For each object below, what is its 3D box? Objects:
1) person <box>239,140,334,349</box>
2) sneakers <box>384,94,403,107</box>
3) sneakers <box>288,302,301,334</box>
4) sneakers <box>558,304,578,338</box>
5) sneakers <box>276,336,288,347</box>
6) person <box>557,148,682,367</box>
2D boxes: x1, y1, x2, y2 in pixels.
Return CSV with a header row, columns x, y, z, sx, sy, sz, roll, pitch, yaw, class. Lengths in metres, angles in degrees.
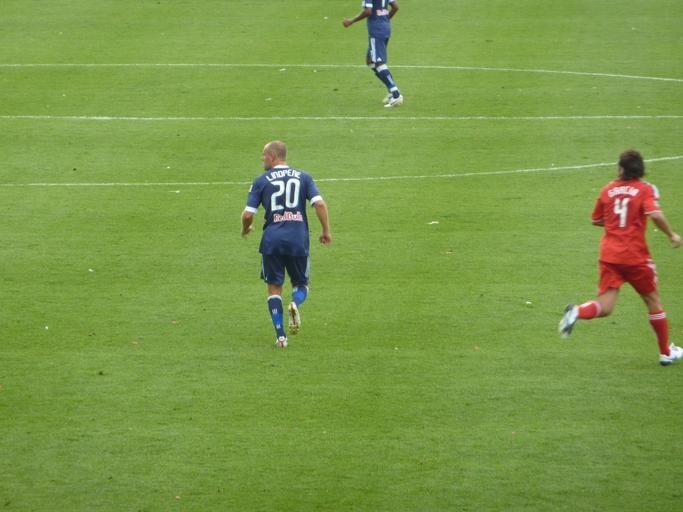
x,y,z,sx,sy,sz,roll,pitch,yaw,class
-0.716,-0.167,18.004,1.129,2.690,0.592,-3,-5,-5,person
0.994,-3.023,27.064,0.456,0.161,0.205,-7,-49,38,sneakers
-0.594,0.784,17.774,0.149,0.377,0.185,-3,17,13,sneakers
2.914,0.815,17.494,0.143,0.384,0.244,13,16,-22,sneakers
-0.777,1.106,17.931,0.140,0.150,0.361,0,-4,-4,sneakers
3.542,0.030,17.427,1.352,2.688,0.445,-4,-5,10,person
